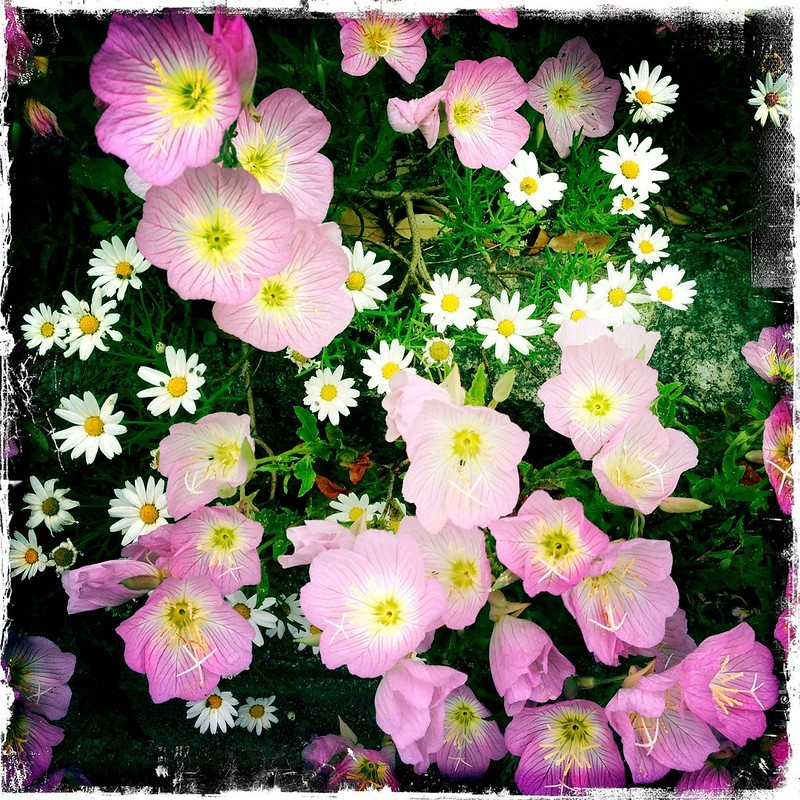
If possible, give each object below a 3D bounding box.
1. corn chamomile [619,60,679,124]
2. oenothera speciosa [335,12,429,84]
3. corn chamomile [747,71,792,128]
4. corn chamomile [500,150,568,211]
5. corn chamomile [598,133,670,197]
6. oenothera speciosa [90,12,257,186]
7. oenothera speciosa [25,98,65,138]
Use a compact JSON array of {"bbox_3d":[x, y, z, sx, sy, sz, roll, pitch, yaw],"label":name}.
[{"bbox_3d":[0.459,-0.556,1.469,0.097,0.111,0.241,7,23,17],"label":"corn chamomile"},{"bbox_3d":[-0.024,-0.562,1.284,0.111,0.099,0.131,15,25,33],"label":"oenothera speciosa"},{"bbox_3d":[0.686,-0.552,1.487,0.073,0.095,0.071,10,22,25],"label":"corn chamomile"},{"bbox_3d":[0.218,-0.346,1.317,0.086,0.111,0.028,-4,9,-12],"label":"corn chamomile"},{"bbox_3d":[0.390,-0.392,1.417,0.099,0.125,0.109,-4,35,-26],"label":"corn chamomile"},{"bbox_3d":[-0.278,-0.358,0.954,0.217,0.185,0.099,13,23,29],"label":"oenothera speciosa"},{"bbox_3d":[-0.632,-0.502,1.437,0.060,0.065,0.030,5,19,11],"label":"oenothera speciosa"}]
